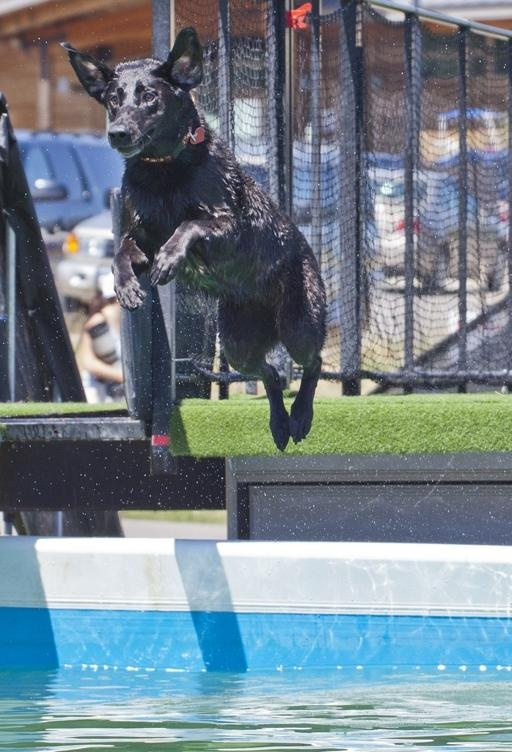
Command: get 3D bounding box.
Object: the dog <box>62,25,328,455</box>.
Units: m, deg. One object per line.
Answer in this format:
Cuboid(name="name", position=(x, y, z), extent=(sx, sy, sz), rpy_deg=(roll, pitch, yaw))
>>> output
Cuboid(name="dog", position=(-0.208, -0.580, 11.197), extent=(1.161, 2.110, 0.632), rpy_deg=(-14, 17, -30))
